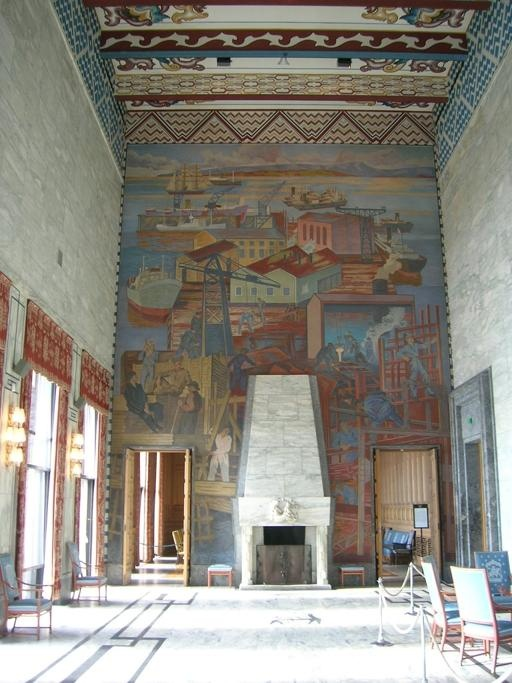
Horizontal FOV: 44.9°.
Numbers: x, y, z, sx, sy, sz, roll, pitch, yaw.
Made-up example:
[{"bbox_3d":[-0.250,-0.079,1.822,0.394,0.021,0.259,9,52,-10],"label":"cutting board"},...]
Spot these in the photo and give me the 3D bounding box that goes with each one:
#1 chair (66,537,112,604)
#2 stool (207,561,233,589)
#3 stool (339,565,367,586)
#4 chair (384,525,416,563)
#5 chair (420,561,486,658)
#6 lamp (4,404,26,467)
[{"bbox_3d":[-2.748,3.759,10.095,0.636,0.809,0.578,4,-13,-19],"label":"chair"},{"bbox_3d":[-0.730,4.743,12.553,0.518,0.421,0.514,-1,-16,-3],"label":"stool"},{"bbox_3d":[1.967,4.717,12.577,0.519,0.398,0.374,0,-14,-5],"label":"stool"},{"bbox_3d":[3.753,5.483,16.508,0.832,0.823,1.746,-3,-16,5],"label":"chair"},{"bbox_3d":[1.953,2.801,6.420,0.474,0.678,0.442,-6,-29,-5],"label":"chair"},{"bbox_3d":[-2.900,1.151,7.493,0.170,0.685,0.573,1,-17,-10],"label":"lamp"}]
